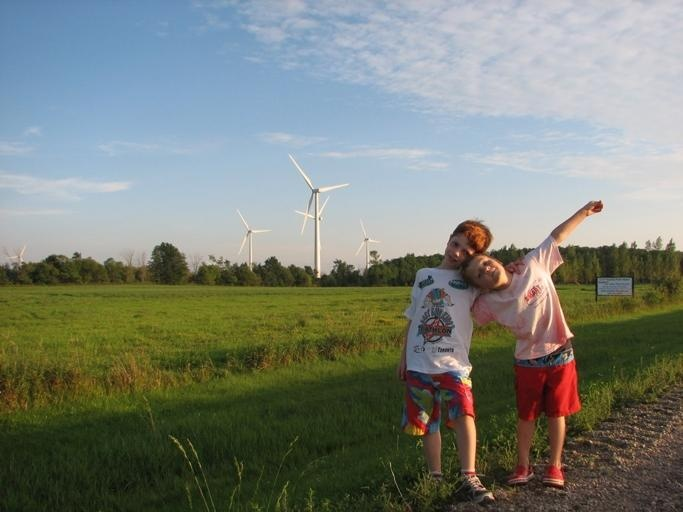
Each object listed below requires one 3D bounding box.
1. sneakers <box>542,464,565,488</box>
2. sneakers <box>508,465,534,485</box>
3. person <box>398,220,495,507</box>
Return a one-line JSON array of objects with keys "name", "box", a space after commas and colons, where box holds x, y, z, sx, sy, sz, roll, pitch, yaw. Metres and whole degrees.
[{"name": "sneakers", "box": [2.569, 2.603, 7.079, 0.364, 0.252, 0.185, 1, 0, -29]}, {"name": "sneakers", "box": [2.191, 2.630, 7.195, 0.438, 0.204, 0.163, 1, 0, -35]}, {"name": "person", "box": [1.242, 1.174, 7.171, 1.072, 2.811, 0.755, 1, 1, 8]}]
